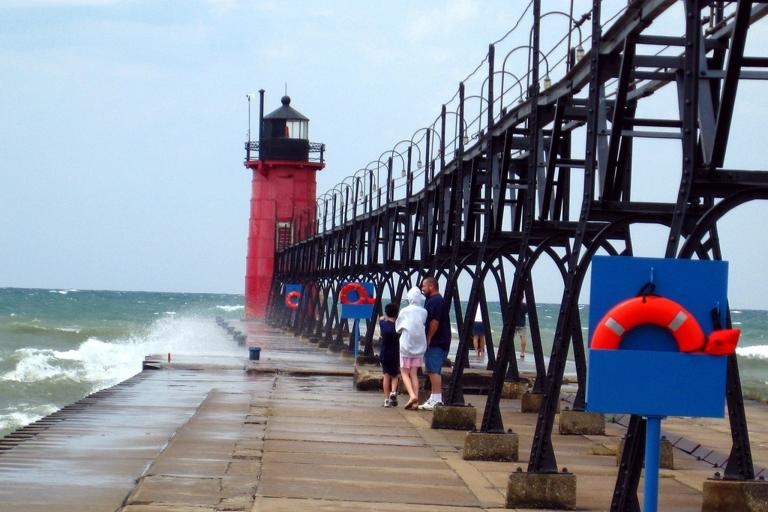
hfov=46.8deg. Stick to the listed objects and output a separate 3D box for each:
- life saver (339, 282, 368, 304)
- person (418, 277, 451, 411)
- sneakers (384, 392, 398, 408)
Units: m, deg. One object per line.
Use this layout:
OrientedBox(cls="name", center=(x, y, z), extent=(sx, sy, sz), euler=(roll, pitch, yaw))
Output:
OrientedBox(cls="life saver", center=(-0.965, 1.126, 27.399), extent=(1.219, 0.610, 0.479), euler=(3, -2, -44))
OrientedBox(cls="person", center=(0.988, 1.705, 17.224), extent=(0.559, 2.603, 1.044), euler=(1, -1, 3))
OrientedBox(cls="sneakers", center=(0.134, 2.965, 18.382), extent=(0.164, 0.185, 0.395), euler=(3, -36, 12))
